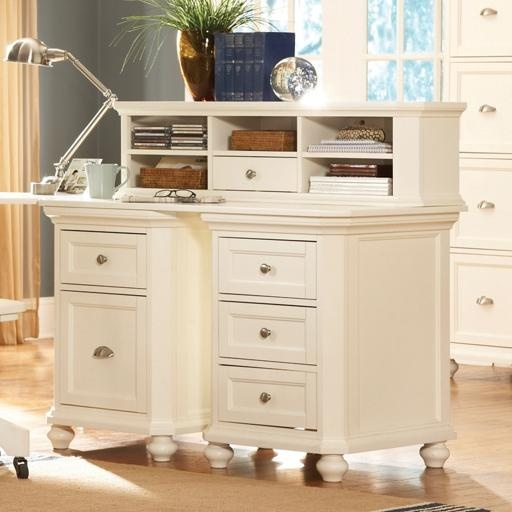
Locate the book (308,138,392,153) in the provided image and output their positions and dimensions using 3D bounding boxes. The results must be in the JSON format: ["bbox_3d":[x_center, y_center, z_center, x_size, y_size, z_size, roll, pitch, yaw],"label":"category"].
[{"bbox_3d":[0.284,-0.335,1.801,0.257,0.045,0.064,5,12,35],"label":"book"}]

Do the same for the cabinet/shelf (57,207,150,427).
[{"bbox_3d":[-0.473,0.200,1.802,0.358,0.562,0.095,3,12,27],"label":"cabinet/shelf"}]

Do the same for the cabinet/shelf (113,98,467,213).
[{"bbox_3d":[0.104,-0.363,1.993,1.142,0.359,0.349,4,12,30],"label":"cabinet/shelf"}]

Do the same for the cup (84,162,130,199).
[{"bbox_3d":[-0.524,-0.262,2.072,0.177,0.103,0.116,1,0,-17],"label":"cup"}]
